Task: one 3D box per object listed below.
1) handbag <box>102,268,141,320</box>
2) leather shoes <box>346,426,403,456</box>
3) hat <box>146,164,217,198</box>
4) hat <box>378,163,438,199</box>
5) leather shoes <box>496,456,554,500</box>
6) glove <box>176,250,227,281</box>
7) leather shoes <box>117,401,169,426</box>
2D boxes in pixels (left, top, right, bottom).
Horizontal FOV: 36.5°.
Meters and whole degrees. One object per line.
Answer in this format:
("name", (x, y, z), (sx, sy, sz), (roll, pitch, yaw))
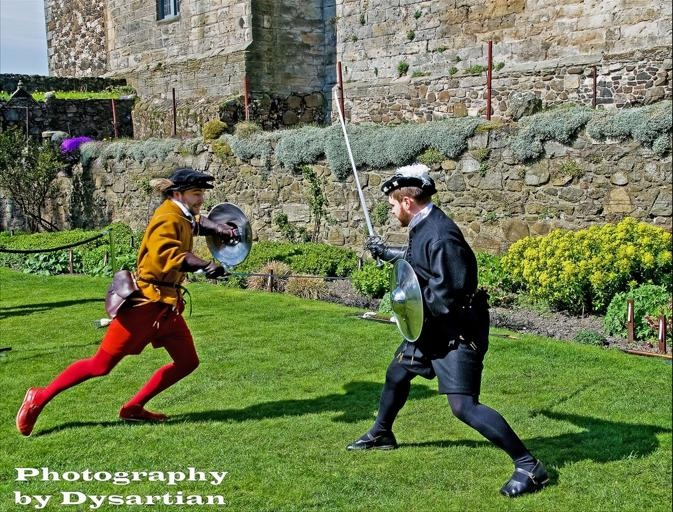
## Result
("handbag", (-2.707, 0.501, 12.793), (0.291, 0.611, 0.628), (8, 21, -26))
("leather shoes", (0.430, 2.148, 11.655), (0.598, 0.243, 0.231), (2, -4, 0))
("hat", (-1.876, -0.899, 12.320), (0.634, 0.238, 0.472), (-10, 6, -12))
("hat", (0.828, -0.832, 11.485), (0.453, 0.270, 0.412), (0, 4, 17))
("leather shoes", (2.036, 2.398, 11.039), (0.536, 0.243, 0.296), (-23, 12, -16))
("glove", (-1.592, 0.133, 12.148), (0.450, 0.199, 0.297), (14, -3, -5))
("leather shoes", (-2.369, 1.930, 12.396), (0.623, 0.227, 0.226), (3, 3, -20))
